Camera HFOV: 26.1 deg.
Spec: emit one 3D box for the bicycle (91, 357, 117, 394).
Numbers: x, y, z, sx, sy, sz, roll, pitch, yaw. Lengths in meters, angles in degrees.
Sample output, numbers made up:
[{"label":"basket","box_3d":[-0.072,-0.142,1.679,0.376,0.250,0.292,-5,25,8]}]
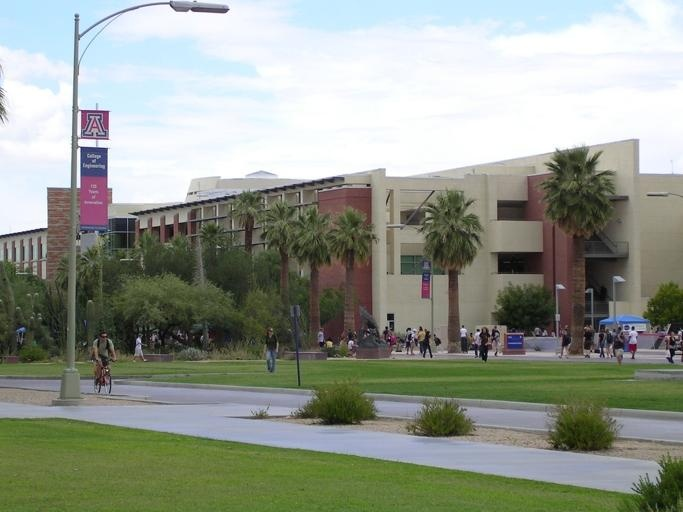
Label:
[{"label":"bicycle","box_3d":[-8.197,4.134,50.656,0.696,0.955,1.489,2,-5,-28]}]
